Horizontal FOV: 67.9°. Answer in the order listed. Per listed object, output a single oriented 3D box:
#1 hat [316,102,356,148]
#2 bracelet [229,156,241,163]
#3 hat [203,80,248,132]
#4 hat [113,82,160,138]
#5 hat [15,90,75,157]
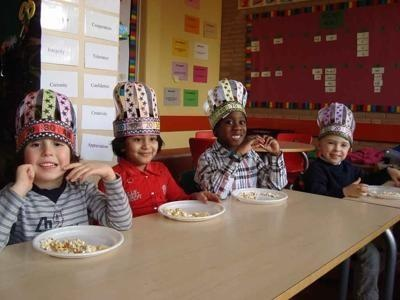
[{"bbox_3d":[1.089,-0.219,2.495,0.264,0.319,0.354,3,0,6],"label":"hat"},{"bbox_3d":[0.213,0.053,1.799,0.069,0.046,0.020,2,9,-4],"label":"bracelet"},{"bbox_3d":[0.198,-0.322,2.096,0.275,0.343,0.346,-3,9,-19],"label":"hat"},{"bbox_3d":[-0.343,-0.232,1.783,0.288,0.328,0.285,1,7,19],"label":"hat"},{"bbox_3d":[-0.643,-0.109,1.344,0.207,0.275,0.276,-4,-13,-16],"label":"hat"}]
